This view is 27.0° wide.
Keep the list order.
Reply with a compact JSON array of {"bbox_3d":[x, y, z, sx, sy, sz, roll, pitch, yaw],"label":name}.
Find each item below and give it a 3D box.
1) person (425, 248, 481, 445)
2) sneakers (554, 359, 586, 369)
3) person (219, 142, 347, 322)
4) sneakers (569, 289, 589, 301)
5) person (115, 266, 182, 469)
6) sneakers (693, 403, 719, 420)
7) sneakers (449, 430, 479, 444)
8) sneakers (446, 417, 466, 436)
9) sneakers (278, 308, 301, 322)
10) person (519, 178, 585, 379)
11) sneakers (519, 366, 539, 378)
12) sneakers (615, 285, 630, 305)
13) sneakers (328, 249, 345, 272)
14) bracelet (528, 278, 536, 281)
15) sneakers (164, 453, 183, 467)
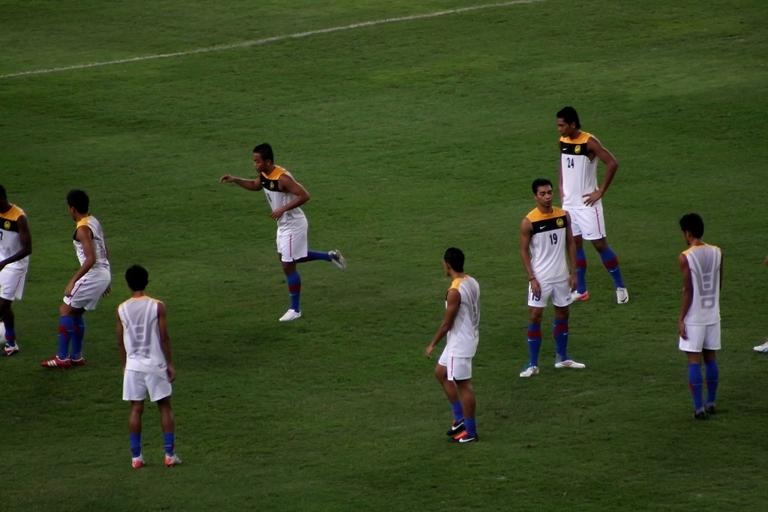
[{"bbox_3d":[1.174,1.468,25.403,0.831,3.121,0.525,-7,7,-2],"label":"person"},{"bbox_3d":[3.119,1.850,26.969,0.548,0.152,0.171,0,8,4],"label":"sneakers"},{"bbox_3d":[-1.652,-0.415,28.751,1.070,3.196,1.226,-1,8,37],"label":"person"},{"bbox_3d":[3.506,0.743,28.721,0.528,0.167,0.224,0,3,-7],"label":"sneakers"},{"bbox_3d":[-3.765,1.774,25.288,0.845,3.219,0.689,-8,7,-9],"label":"person"},{"bbox_3d":[5.182,2.537,25.772,0.458,0.168,0.159,-23,36,-29],"label":"sneakers"},{"bbox_3d":[1.273,2.934,25.531,0.540,0.175,0.165,1,20,3],"label":"sneakers"},{"bbox_3d":[1.175,2.775,25.621,0.426,0.169,0.146,-31,10,20],"label":"sneakers"},{"bbox_3d":[-1.657,1.090,28.725,0.502,0.165,0.159,-9,22,-18],"label":"sneakers"},{"bbox_3d":[2.708,0.396,26.721,0.957,3.329,0.778,-12,9,-39],"label":"person"},{"bbox_3d":[2.431,1.981,26.871,0.354,0.127,0.149,-3,25,-7],"label":"sneakers"},{"bbox_3d":[4.241,0.741,28.605,0.181,0.173,0.358,1,41,12],"label":"sneakers"},{"bbox_3d":[-0.870,0.112,29.452,0.249,0.164,0.504,-14,-26,19],"label":"sneakers"},{"bbox_3d":[2.448,0.405,26.489,0.101,0.066,0.075,-4,6,4],"label":"bracelet"},{"bbox_3d":[-3.347,3.264,25.318,0.139,0.135,0.354,7,9,26],"label":"sneakers"}]
